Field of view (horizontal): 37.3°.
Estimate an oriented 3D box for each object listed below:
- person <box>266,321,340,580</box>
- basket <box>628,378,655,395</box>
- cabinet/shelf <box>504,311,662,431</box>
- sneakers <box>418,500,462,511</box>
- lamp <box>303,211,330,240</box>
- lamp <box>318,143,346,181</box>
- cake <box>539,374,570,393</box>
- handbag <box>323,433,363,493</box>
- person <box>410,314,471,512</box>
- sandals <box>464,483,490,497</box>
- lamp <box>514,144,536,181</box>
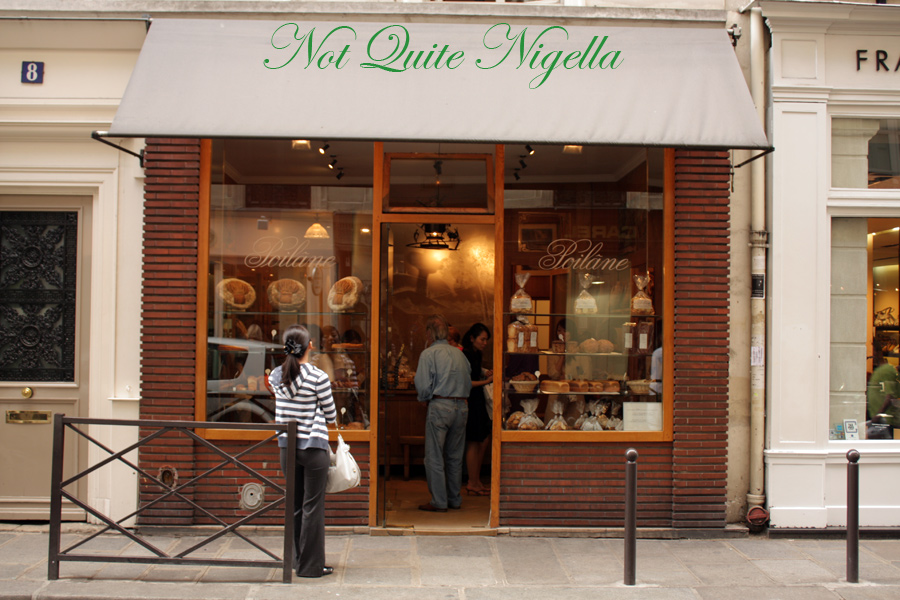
[{"bbox_3d":[-1.643,1.664,14.791,0.701,2.768,0.450,1,-3,-6],"label":"person"},{"bbox_3d":[2.334,1.042,16.439,0.232,0.083,0.227,0,3,-41],"label":"basket"},{"bbox_3d":[1.624,0.893,16.453,1.633,1.190,0.530,0,-12,0],"label":"cabinet/shelf"},{"bbox_3d":[-0.138,2.611,17.048,0.510,0.179,0.173,2,-1,7],"label":"sneakers"},{"bbox_3d":[-1.640,-0.906,16.487,0.383,0.335,0.333,-1,5,-12],"label":"lamp"},{"bbox_3d":[-1.468,-1.698,16.412,0.299,0.427,0.101,2,-4,-27],"label":"lamp"},{"bbox_3d":[1.285,1.039,16.574,0.314,0.162,0.214,0,-1,-2],"label":"cake"},{"bbox_3d":[-1.307,1.856,14.903,0.321,0.570,0.616,16,5,17],"label":"handbag"},{"bbox_3d":[-0.103,1.617,17.207,0.725,2.108,0.443,1,-3,-3],"label":"person"},{"bbox_3d":[0.368,2.536,17.888,0.387,0.139,0.124,-1,-3,0],"label":"sandals"},{"bbox_3d":[0.906,-1.684,16.435,0.178,0.497,0.202,-5,-21,42],"label":"lamp"}]
